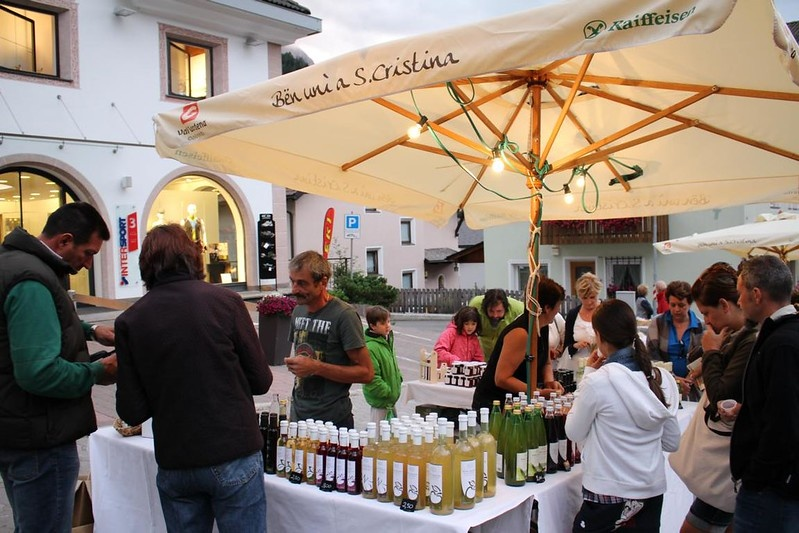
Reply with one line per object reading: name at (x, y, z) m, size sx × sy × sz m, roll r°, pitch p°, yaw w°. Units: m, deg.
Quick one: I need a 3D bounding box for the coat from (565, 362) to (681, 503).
coat at (1.595, 1.170, 5.020) m, size 0.866 × 1.044 × 0.906 m, roll 0°, pitch 1°, yaw -12°

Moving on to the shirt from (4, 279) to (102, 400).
shirt at (-2.562, 0.530, 4.950) m, size 0.675 × 0.861 × 0.861 m, roll 0°, pitch 1°, yaw -25°

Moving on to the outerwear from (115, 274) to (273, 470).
outerwear at (-1.485, 0.740, 4.706) m, size 1.123 × 1.330 × 0.695 m, roll -10°, pitch -6°, yaw -5°

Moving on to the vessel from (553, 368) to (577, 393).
vessel at (1.676, 1.136, 6.476) m, size 0.176 × 0.308 × 0.222 m, roll 3°, pitch 5°, yaw 40°

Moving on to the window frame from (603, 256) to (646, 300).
window frame at (8.253, 0.388, 23.445) m, size 1.596 × 1.956 × 0.188 m, roll 0°, pitch -2°, yaw 36°

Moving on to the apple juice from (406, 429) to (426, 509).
apple juice at (0.124, 1.408, 4.534) m, size 0.132 × 0.520 × 0.170 m, roll 0°, pitch 3°, yaw -2°

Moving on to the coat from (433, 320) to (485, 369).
coat at (0.806, 1.006, 8.513) m, size 0.603 × 0.632 × 0.501 m, roll 0°, pitch -4°, yaw -16°

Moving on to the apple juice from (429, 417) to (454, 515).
apple juice at (0.289, 1.368, 4.442) m, size 0.172 × 0.609 × 0.153 m, roll 0°, pitch 3°, yaw 1°

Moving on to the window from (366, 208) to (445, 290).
window at (0.155, -0.681, 33.362) m, size 4.397 × 4.312 × 2.233 m, roll 1°, pitch 1°, yaw -37°

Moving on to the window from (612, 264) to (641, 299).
window at (8.134, 0.512, 22.898) m, size 1.156 × 1.256 × 0.061 m, roll 0°, pitch 4°, yaw 40°

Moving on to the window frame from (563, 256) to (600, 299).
window frame at (5.334, 0.219, 18.884) m, size 0.347 × 1.534 × 1.483 m, roll 5°, pitch -8°, yaw -21°

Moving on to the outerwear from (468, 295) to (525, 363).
outerwear at (1.095, 0.724, 7.329) m, size 0.835 × 1.036 × 0.303 m, roll 0°, pitch 6°, yaw -1°

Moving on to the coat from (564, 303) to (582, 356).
coat at (2.070, 0.769, 7.791) m, size 0.152 × 0.461 × 0.337 m, roll 7°, pitch -10°, yaw -19°
